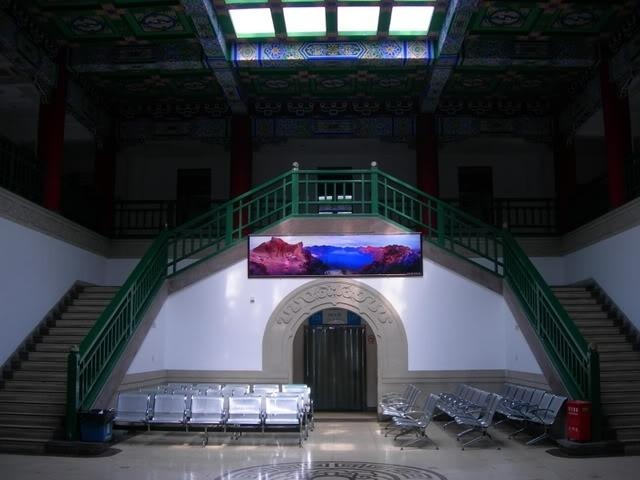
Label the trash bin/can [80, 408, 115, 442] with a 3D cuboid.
[{"bbox_3d":[-3.839,3.228,8.857,0.497,0.565,0.380,-2,-8,15],"label":"trash bin/can"}]

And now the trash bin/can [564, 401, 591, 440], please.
[{"bbox_3d":[4.405,3.094,8.683,0.402,0.677,0.215,-4,-9,27],"label":"trash bin/can"}]

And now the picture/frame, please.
[{"bbox_3d":[0.346,0.341,11.680,3.925,0.993,0.248,0,-8,1],"label":"picture/frame"}]
